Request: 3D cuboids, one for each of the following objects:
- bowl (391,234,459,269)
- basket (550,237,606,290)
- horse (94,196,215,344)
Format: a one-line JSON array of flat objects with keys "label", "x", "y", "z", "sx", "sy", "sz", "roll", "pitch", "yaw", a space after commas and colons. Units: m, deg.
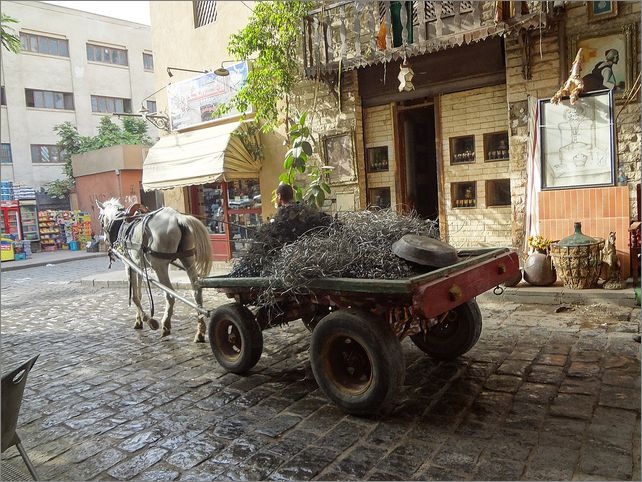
[{"label": "bowl", "x": 1.156, "y": 0.052, "z": 5.348, "sx": 0.588, "sy": 0.408, "sz": 0.558, "roll": 1, "pitch": 4, "yaw": 0}, {"label": "basket", "x": 4.219, "y": 0.346, "z": 8.222, "sx": 0.698, "sy": 0.826, "sz": 0.755, "roll": 2, "pitch": 7, "yaw": -27}, {"label": "horse", "x": -3.025, "y": 0.486, "z": 8.663, "sx": 3.140, "sy": 2.605, "sz": 0.847, "roll": -6, "pitch": -1, "yaw": 40}]
